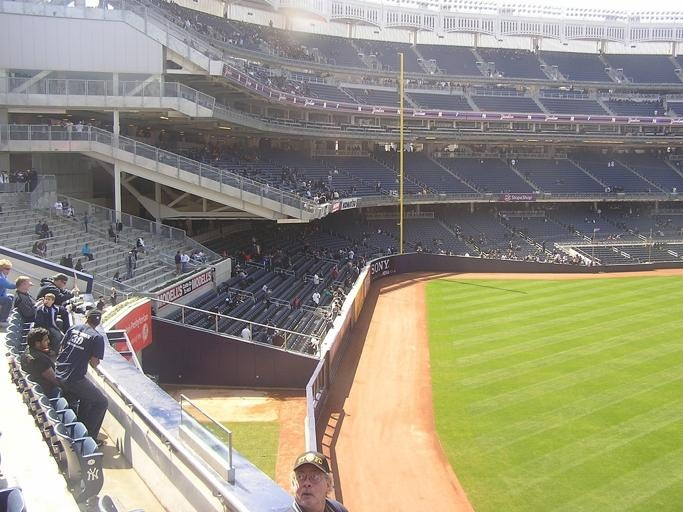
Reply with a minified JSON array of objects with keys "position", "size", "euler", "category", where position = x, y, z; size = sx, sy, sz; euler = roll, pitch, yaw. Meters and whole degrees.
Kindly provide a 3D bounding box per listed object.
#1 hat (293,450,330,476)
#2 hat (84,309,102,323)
[{"position":[-0.437,3.323,12.705],"size":[0.523,0.347,0.811],"euler":[1,-18,0],"category":"hat"},{"position":[-4.769,1.145,15.297],"size":[0.208,0.261,0.262],"euler":[12,23,-22],"category":"hat"}]
